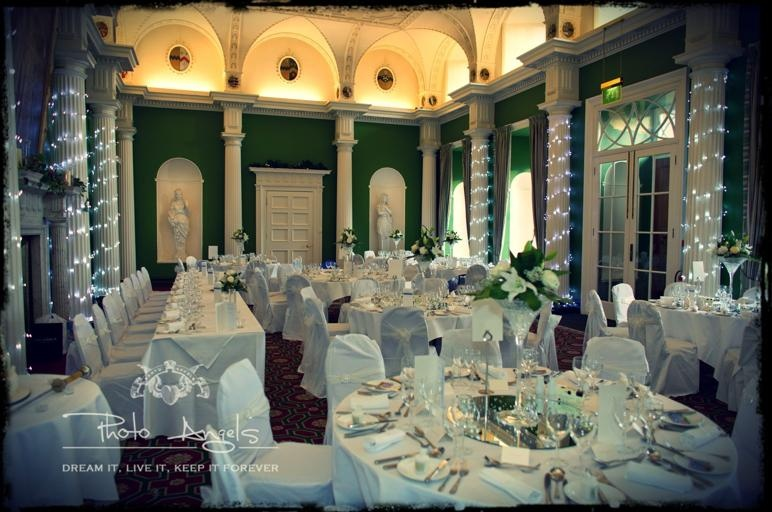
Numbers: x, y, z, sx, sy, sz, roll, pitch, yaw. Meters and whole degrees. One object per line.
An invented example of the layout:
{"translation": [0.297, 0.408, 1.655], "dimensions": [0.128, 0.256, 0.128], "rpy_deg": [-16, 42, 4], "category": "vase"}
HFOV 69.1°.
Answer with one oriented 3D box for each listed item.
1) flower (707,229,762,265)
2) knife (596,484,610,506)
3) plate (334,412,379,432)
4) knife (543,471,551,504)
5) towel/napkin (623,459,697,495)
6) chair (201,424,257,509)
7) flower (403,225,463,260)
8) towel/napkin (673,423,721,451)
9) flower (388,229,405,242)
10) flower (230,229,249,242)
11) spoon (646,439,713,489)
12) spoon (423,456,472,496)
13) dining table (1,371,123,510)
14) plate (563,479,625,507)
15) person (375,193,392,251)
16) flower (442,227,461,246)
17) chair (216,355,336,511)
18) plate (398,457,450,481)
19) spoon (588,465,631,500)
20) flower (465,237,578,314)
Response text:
{"translation": [4.719, -0.184, 7.566], "dimensions": [0.502, 0.394, 0.524], "rpy_deg": [2, -10, 30], "category": "flower"}
{"translation": [1.497, 1.660, 3.823], "dimensions": [0.098, 0.036, 0.103], "rpy_deg": [1, 33, -6], "category": "knife"}
{"translation": [-0.222, 1.298, 4.353], "dimensions": [0.183, 0.028, 0.185], "rpy_deg": [-3, 7, -30], "category": "plate"}
{"translation": [1.117, 1.602, 3.857], "dimensions": [0.045, 0.026, 0.177], "rpy_deg": [-6, 29, 13], "category": "knife"}
{"translation": [1.878, 1.537, 3.864], "dimensions": [0.262, 0.083, 0.219], "rpy_deg": [2, 3, 38], "category": "towel/napkin"}
{"translation": [-1.189, 1.550, 4.191], "dimensions": [0.352, 0.700, 0.557], "rpy_deg": [-1, -2, -18], "category": "chair"}
{"translation": [1.072, -0.342, 13.486], "dimensions": [1.022, 0.633, 1.015], "rpy_deg": [-4, 8, -40], "category": "flower"}
{"translation": [2.326, 1.334, 4.170], "dimensions": [0.281, 0.082, 0.160], "rpy_deg": [-18, 29, -15], "category": "towel/napkin"}
{"translation": [0.220, -0.473, 12.766], "dimensions": [0.423, 0.289, 0.440], "rpy_deg": [3, 6, 26], "category": "flower"}
{"translation": [-3.667, -0.507, 13.961], "dimensions": [0.420, 0.460, 0.439], "rpy_deg": [4, 0, 3], "category": "flower"}
{"translation": [2.093, 1.480, 4.002], "dimensions": [0.352, 0.041, 0.187], "rpy_deg": [8, 39, 44], "category": "spoon"}
{"translation": [0.477, 1.548, 3.901], "dimensions": [0.108, 0.089, 0.489], "rpy_deg": [18, 8, 15], "category": "spoon"}
{"translation": [-2.788, 1.594, 4.790], "dimensions": [0.956, 0.780, 0.954], "rpy_deg": [0, 0, -41], "category": "dining table"}
{"translation": [1.401, 1.623, 3.805], "dimensions": [0.208, 0.030, 0.193], "rpy_deg": [-5, 6, -31], "category": "plate"}
{"translation": [-0.074, -0.979, 16.526], "dimensions": [0.448, 1.683, 0.599], "rpy_deg": [-1, -1, 14], "category": "person"}
{"translation": [1.618, -0.431, 13.464], "dimensions": [0.558, 0.450, 0.585], "rpy_deg": [2, -4, -3], "category": "flower"}
{"translation": [-0.862, 1.495, 4.686], "dimensions": [1.054, 1.365, 0.940], "rpy_deg": [0, 8, 1], "category": "chair"}
{"translation": [0.274, 1.504, 3.932], "dimensions": [0.210, 0.032, 0.218], "rpy_deg": [1, 4, -16], "category": "plate"}
{"translation": [1.542, 1.580, 3.863], "dimensions": [0.082, 0.057, 0.370], "rpy_deg": [-8, 20, -12], "category": "spoon"}
{"translation": [1.183, 0.217, 4.716], "dimensions": [0.617, 0.386, 0.633], "rpy_deg": [-11, -8, 31], "category": "flower"}
